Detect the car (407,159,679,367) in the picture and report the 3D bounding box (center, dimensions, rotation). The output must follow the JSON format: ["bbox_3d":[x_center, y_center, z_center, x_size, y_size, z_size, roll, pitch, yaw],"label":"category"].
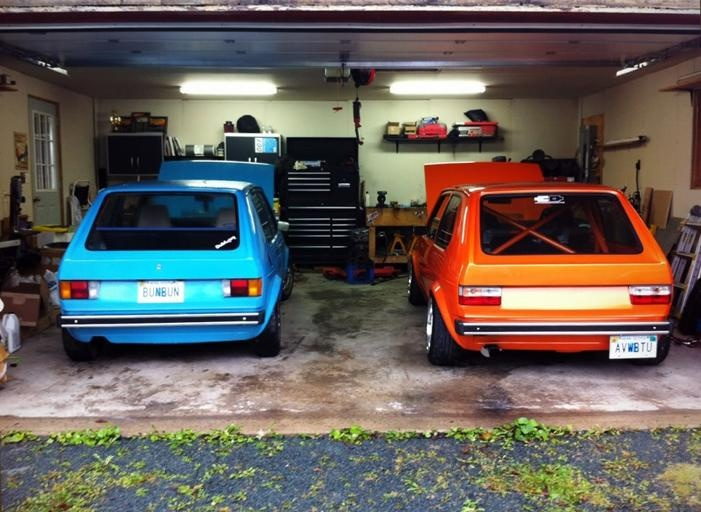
[{"bbox_3d":[1.641,0.093,4.934,1.883,1.645,2.217,0,13,1],"label":"car"}]

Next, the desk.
[{"bbox_3d":[0.777,-0.405,10.299,1.156,1.070,1.874,-6,1,-1],"label":"desk"}]

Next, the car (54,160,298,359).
[{"bbox_3d":[-1.615,-0.137,5.416,1.884,1.177,2.807,0,15,-5],"label":"car"}]

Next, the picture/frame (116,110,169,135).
[{"bbox_3d":[-4.637,-2.939,11.149,1.166,0.467,0.860,-1,13,-4],"label":"picture/frame"}]
